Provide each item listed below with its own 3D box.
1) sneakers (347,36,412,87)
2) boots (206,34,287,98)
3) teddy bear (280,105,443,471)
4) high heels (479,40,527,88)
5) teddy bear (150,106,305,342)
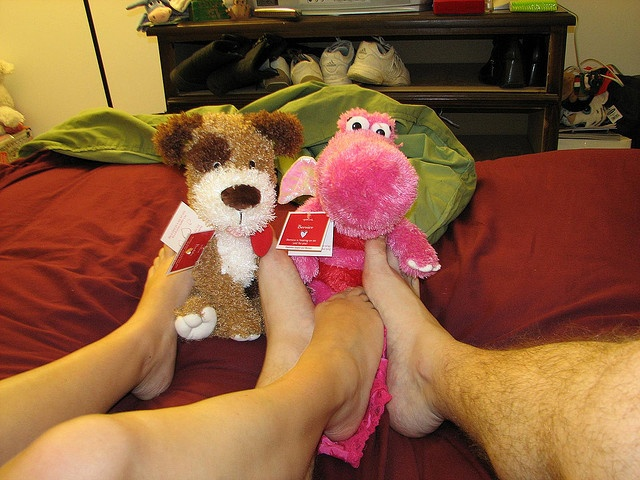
[{"bbox_3d":[0.296,-0.783,1.984,0.143,0.172,0.386,26,26,35],"label":"sneakers"},{"bbox_3d":[-0.308,-0.724,1.930,0.286,0.113,0.235,-26,35,0],"label":"boots"},{"bbox_3d":[0.047,0.008,0.815,0.287,0.301,0.669,9,47,-6],"label":"teddy bear"},{"bbox_3d":[0.788,-0.809,1.946,0.117,0.225,0.316,-12,26,1],"label":"high heels"},{"bbox_3d":[-0.172,-0.027,0.882,0.271,0.428,0.226,-7,22,-20],"label":"teddy bear"}]
